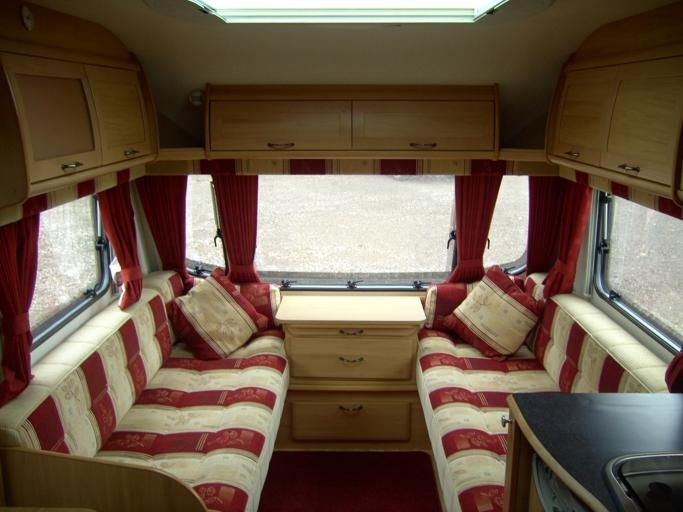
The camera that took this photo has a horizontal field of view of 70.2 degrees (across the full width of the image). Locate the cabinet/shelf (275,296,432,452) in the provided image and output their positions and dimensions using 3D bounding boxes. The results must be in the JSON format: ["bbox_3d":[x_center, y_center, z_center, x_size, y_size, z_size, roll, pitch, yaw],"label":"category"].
[{"bbox_3d":[0.075,0.741,3.929,1.355,0.919,1.325,0,-82,1],"label":"cabinet/shelf"}]
